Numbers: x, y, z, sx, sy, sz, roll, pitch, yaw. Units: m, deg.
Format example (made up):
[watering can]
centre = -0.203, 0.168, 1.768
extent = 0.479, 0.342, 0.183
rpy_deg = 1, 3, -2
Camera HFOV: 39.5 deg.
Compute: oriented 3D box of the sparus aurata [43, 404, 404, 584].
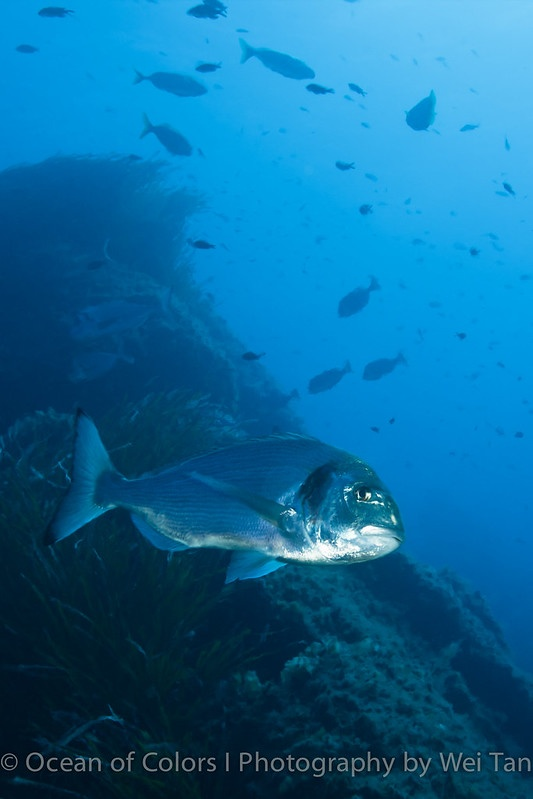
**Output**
[sparus aurata]
centre = -0.304, 0.581, 4.348
extent = 2.139, 0.924, 0.889
rpy_deg = 2, 76, 14
